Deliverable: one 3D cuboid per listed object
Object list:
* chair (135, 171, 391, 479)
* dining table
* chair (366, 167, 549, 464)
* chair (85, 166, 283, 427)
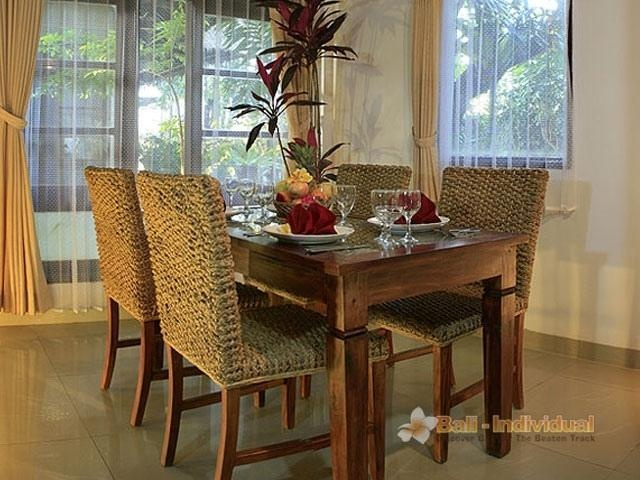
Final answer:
[{"bbox_3d":[-0.443,0.320,2.862,1.140,2.013,1.227,-4,7,-29],"label":"chair"},{"bbox_3d":[0.205,0.418,2.389,1.082,0.942,1.086,-3,2,-34],"label":"dining table"},{"bbox_3d":[0.676,0.312,2.717,0.821,1.302,0.800,-8,12,-15],"label":"chair"},{"bbox_3d":[-0.905,0.211,3.481,1.179,2.086,1.192,-3,5,-30],"label":"chair"}]
